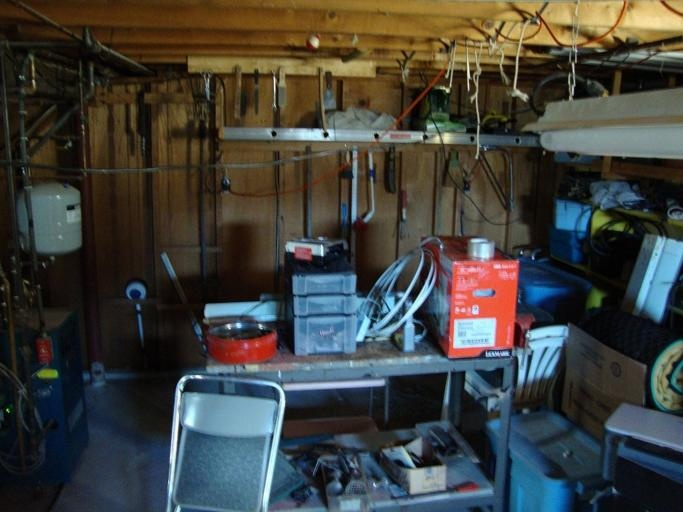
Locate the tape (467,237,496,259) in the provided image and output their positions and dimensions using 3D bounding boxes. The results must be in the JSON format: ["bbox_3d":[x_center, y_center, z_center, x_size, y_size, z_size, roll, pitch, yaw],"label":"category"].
[{"bbox_3d":[0.806,-0.049,3.415,0.157,0.100,0.198,0,15,12],"label":"tape"}]

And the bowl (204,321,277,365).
[{"bbox_3d":[-0.562,0.498,3.431,0.263,0.097,0.260,1,7,0],"label":"bowl"}]

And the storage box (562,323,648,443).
[{"bbox_3d":[1.747,0.817,3.897,0.188,0.587,0.574,-7,19,-11],"label":"storage box"}]

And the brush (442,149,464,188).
[{"bbox_3d":[1.090,-0.867,5.697,0.188,0.359,0.081,2,52,19],"label":"brush"}]
